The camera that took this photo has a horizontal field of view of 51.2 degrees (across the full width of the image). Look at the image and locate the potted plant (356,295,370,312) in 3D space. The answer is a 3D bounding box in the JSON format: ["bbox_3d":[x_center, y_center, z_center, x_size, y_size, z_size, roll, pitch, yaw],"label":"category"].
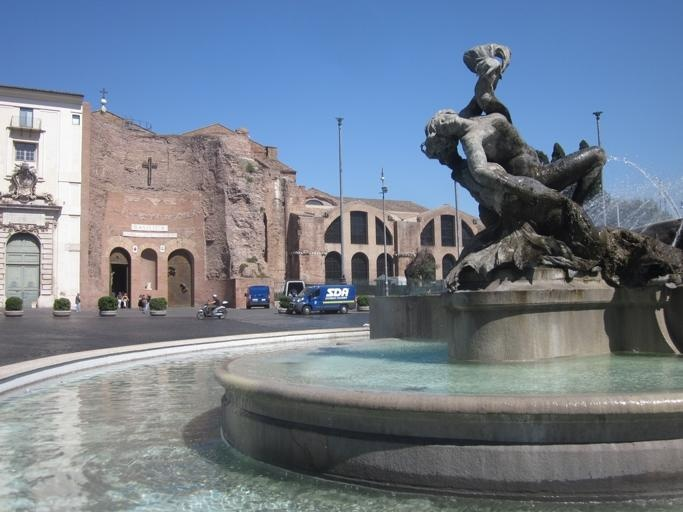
[{"bbox_3d":[1.376,3.092,44.631,0.713,0.983,1.394,-3,0,4],"label":"potted plant"}]

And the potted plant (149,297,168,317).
[{"bbox_3d":[-9.068,2.585,34.810,0.982,0.954,0.955,1,-4,-4],"label":"potted plant"}]

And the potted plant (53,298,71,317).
[{"bbox_3d":[-12.470,2.427,32.142,0.830,0.811,0.804,0,-6,3],"label":"potted plant"}]

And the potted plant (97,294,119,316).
[{"bbox_3d":[-10.834,2.400,33.067,0.889,0.876,0.909,1,1,10],"label":"potted plant"}]

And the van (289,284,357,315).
[{"bbox_3d":[-1.001,2.614,41.213,3.418,1.385,1.618,3,-5,-28],"label":"van"}]

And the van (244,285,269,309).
[{"bbox_3d":[-5.809,3.016,50.271,1.224,1.029,1.936,-1,8,-13],"label":"van"}]

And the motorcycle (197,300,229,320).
[{"bbox_3d":[-5.998,2.681,33.808,1.599,0.881,0.764,4,-6,-26],"label":"motorcycle"}]

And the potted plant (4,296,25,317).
[{"bbox_3d":[-13.956,2.291,30.595,0.845,0.820,0.824,0,-4,-5],"label":"potted plant"}]

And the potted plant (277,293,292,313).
[{"bbox_3d":[-3.359,3.075,42.775,1.229,1.249,0.990,1,-3,-4],"label":"potted plant"}]
